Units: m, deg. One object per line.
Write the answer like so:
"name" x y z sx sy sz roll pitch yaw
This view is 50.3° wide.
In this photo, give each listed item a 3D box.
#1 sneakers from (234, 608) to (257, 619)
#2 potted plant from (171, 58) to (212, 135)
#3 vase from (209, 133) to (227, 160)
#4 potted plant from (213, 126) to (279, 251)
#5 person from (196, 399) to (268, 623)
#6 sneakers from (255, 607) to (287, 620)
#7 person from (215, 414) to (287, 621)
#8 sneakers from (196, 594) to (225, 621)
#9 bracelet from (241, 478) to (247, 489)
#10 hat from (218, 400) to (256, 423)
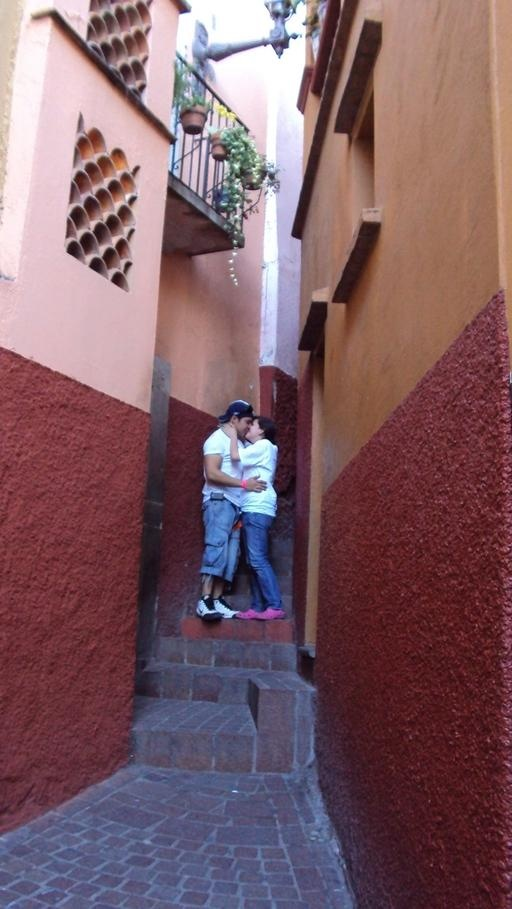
"sneakers" -0.109 1.447 4.944 0.112 0.087 0.075 4 64 2
"potted plant" -0.567 -4.040 6.040 0.239 0.855 0.251 5 0 -11
"vase" -0.417 -3.601 6.414 0.178 0.212 0.191 0 6 -36
"potted plant" -0.189 -3.231 6.628 0.698 1.196 2.082 11 33 -4
"person" -0.226 0.634 5.359 0.494 0.738 2.305 0 60 0
"sneakers" 0.070 1.420 4.903 0.154 0.086 0.097 8 -13 -30
"person" -0.107 0.651 5.407 0.480 0.577 1.977 0 51 4
"sneakers" -0.397 1.428 5.020 0.093 0.309 0.168 5 71 -15
"bracelet" -0.137 0.278 5.298 0.043 0.054 0.062 -5 30 1
"hat" -0.199 -0.456 5.758 0.229 0.217 0.203 3 3 -11
